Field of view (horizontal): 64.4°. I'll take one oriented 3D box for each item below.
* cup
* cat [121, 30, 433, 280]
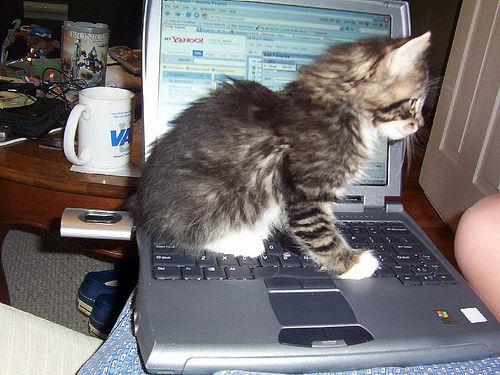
[{"bbox_3d":[-0.306,-0.102,0.761,0.106,0.141,0.167,12,22,12],"label":"cup"},{"bbox_3d":[0.043,-0.075,0.730,0.543,0.416,0.206,1,22,-9],"label":"cat"}]
